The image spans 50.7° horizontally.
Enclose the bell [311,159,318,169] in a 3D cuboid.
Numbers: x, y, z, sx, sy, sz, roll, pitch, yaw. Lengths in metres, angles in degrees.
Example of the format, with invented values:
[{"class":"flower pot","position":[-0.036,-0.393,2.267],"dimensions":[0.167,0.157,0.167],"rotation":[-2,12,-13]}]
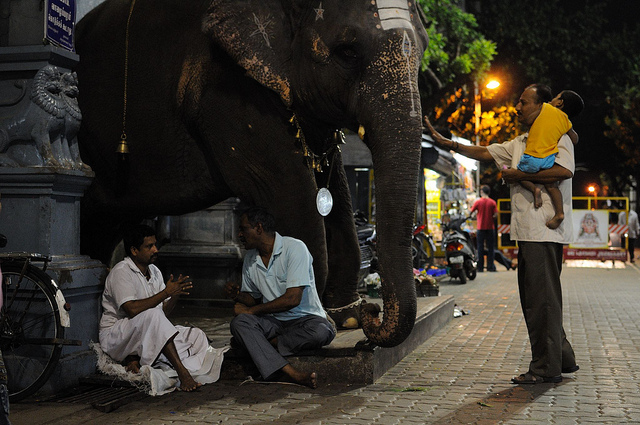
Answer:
[{"class":"bell","position":[-0.059,-0.552,7.439],"dimensions":[0.089,0.139,0.082],"rotation":[-1,3,16]}]

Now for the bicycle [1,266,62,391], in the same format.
[{"class":"bicycle","position":[-2.798,1.125,6.583],"dimensions":[0.724,1.204,0.317],"rotation":[-3,-4,24]}]

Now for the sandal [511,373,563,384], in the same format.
[{"class":"sandal","position":[2.236,1.739,6.970],"dimensions":[0.462,0.135,0.171],"rotation":[1,-4,6]}]

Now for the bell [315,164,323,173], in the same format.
[{"class":"bell","position":[-0.016,-0.488,7.492],"dimensions":[0.064,0.070,0.070],"rotation":[0,-2,-10]}]

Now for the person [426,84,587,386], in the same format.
[{"class":"person","position":[2.415,0.201,7.283],"dimensions":[0.962,3.199,0.593],"rotation":[-1,-3,-13]}]

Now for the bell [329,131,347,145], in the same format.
[{"class":"bell","position":[0.205,-0.866,7.802],"dimensions":[0.142,0.153,0.147],"rotation":[-4,-2,41]}]

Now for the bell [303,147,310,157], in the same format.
[{"class":"bell","position":[-0.144,-0.666,7.303],"dimensions":[0.074,0.080,0.075],"rotation":[-1,1,37]}]

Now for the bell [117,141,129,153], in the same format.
[{"class":"bell","position":[-2.279,-0.766,7.831],"dimensions":[0.122,0.130,0.121],"rotation":[2,-7,-3]}]

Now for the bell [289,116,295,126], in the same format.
[{"class":"bell","position":[-0.301,-1.003,7.322],"dimensions":[0.055,0.106,0.064],"rotation":[29,9,0]}]

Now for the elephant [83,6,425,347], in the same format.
[{"class":"elephant","position":[-0.601,-0.976,9.123],"dimensions":[4.672,4.200,2.600],"rotation":[-1,2,17]}]
